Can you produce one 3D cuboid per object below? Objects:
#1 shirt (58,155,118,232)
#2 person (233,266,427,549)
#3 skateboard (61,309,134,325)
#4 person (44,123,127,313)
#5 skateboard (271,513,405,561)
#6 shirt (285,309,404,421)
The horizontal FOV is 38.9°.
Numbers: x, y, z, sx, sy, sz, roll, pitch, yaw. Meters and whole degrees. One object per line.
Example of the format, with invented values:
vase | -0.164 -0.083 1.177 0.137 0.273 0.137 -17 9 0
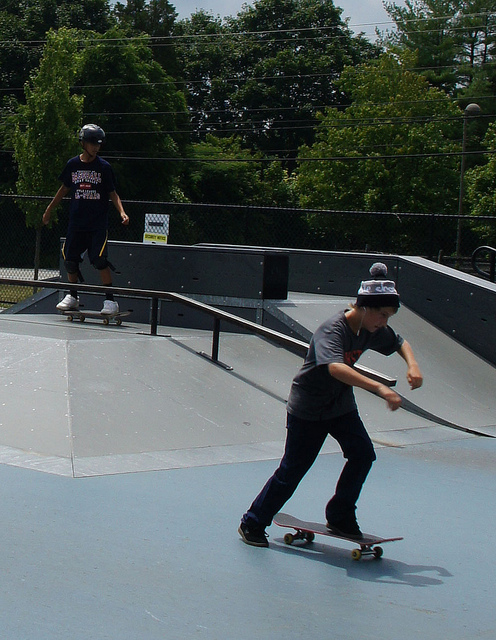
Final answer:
shirt | -1.676 -1.319 7.308 0.594 0.817 0.359 5 5 -11
person | 0.393 0.440 3.414 0.726 1.424 1.138 7 4 3
skateboard | -1.705 -0.036 7.784 0.685 0.099 0.170 4 12 19
person | -1.669 -1.170 7.283 0.699 1.586 0.850 4 5 -30
skateboard | 0.337 0.991 3.453 0.846 0.124 0.210 2 1 36
shirt | 0.503 0.208 3.366 0.573 0.470 0.466 -1 6 -28
